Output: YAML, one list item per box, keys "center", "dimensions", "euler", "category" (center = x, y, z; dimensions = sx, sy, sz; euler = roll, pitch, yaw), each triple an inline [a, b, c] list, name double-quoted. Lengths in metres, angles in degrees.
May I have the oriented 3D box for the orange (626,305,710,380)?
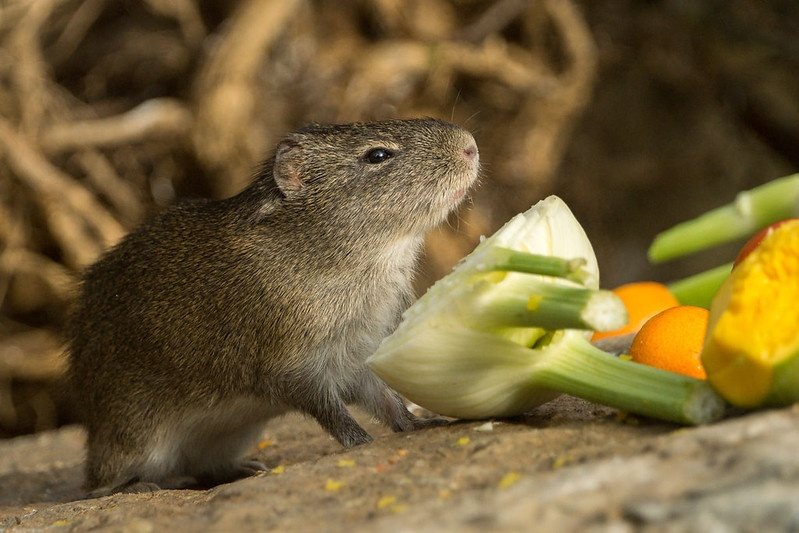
- center: [1.442, 0.414, 4.743]
  dimensions: [0.444, 0.384, 0.386]
  euler: [-4, 53, 12]
  category: "orange"
